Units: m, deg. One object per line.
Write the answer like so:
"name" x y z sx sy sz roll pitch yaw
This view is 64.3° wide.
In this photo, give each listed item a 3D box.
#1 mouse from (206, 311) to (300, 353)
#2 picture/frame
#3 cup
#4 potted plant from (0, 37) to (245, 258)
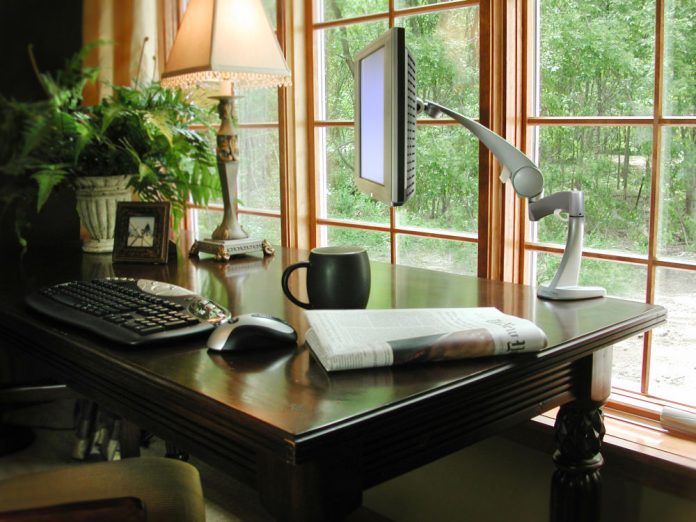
"mouse" -0.168 0.105 0.926 0.120 0.043 0.067 -5 10 -29
"picture/frame" -0.572 -0.073 1.554 0.185 0.205 0.020 0 -12 -1
"cup" -0.026 0.030 1.038 0.160 0.106 0.102 -3 -2 18
"potted plant" -0.682 -0.341 1.922 0.741 0.525 0.758 4 4 27
